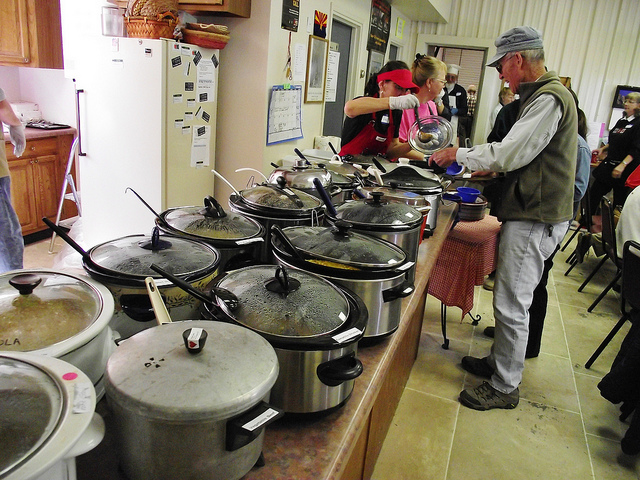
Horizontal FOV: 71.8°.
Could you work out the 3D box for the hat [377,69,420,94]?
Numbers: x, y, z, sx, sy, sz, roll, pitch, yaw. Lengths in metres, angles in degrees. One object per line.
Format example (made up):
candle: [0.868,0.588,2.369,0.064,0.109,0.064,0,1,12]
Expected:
hat: [0.548,-1.102,3.057,0.222,0.095,0.152,23,26,18]

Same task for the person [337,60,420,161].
person: [0.425,-0.920,3.213,0.537,0.710,0.867,6,21,10]

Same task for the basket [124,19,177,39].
basket: [-1.150,-1.394,2.933,0.356,0.117,0.147,8,22,14]

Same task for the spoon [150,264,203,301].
spoon: [-0.339,0.100,1.022,0.127,0.016,0.016,36,28,-4]

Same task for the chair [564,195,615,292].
chair: [2.663,0.055,4.224,0.377,0.670,0.393,25,-24,-30]

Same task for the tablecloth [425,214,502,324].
tablecloth: [0.940,0.184,2.921,0.397,0.538,0.242,9,22,17]

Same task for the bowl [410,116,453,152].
bowl: [0.706,-0.698,2.956,0.358,0.080,0.356,-17,17,5]

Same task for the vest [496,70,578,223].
vest: [1.184,-0.460,2.414,0.396,0.705,0.550,2,-1,16]

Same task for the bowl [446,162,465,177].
bowl: [0.803,-0.413,2.649,0.111,0.051,0.131,1,22,-6]

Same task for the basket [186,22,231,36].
basket: [-0.784,-1.470,3.087,0.286,0.061,0.096,-8,23,-26]

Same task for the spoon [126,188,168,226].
spoon: [-1.115,-0.224,2.843,0.035,0.425,0.060,-32,12,43]

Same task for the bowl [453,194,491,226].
bowl: [1.125,-0.208,3.116,0.306,0.169,0.298,1,2,0]

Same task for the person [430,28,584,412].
person: [1.113,-0.107,2.633,0.646,2.082,1.023,14,24,28]

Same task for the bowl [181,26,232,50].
bowl: [-0.799,-1.385,3.135,0.204,0.079,0.215,11,17,-3]

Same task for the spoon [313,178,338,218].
spoon: [0.022,-0.159,1.573,0.086,0.151,0.149,2,21,-1]

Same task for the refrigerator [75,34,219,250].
refrigerator: [-1.465,-0.571,3.544,0.694,2.001,1.116,21,25,34]

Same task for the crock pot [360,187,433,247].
crock pot: [0.327,-0.164,2.151,0.330,0.252,0.380,10,19,18]
